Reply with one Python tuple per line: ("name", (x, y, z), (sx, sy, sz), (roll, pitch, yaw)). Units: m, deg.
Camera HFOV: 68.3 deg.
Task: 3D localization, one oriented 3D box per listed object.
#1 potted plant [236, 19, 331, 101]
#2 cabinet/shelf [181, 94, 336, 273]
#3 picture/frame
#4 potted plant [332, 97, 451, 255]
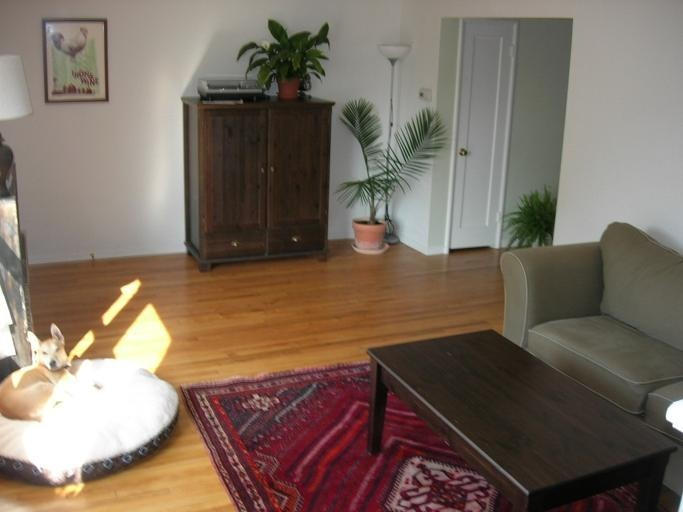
("potted plant", (-0.599, -2.040, 5.203), (0.983, 0.831, 0.773), (-5, 15, -11))
("cabinet/shelf", (-0.873, -0.746, 5.028), (1.396, 1.800, 0.762), (-7, 21, -24))
("picture/frame", (-2.561, -1.873, 4.742), (0.683, 0.943, 0.058), (-7, 22, -26))
("potted plant", (0.687, -1.071, 6.306), (1.521, 1.888, 1.501), (16, 20, 41))
